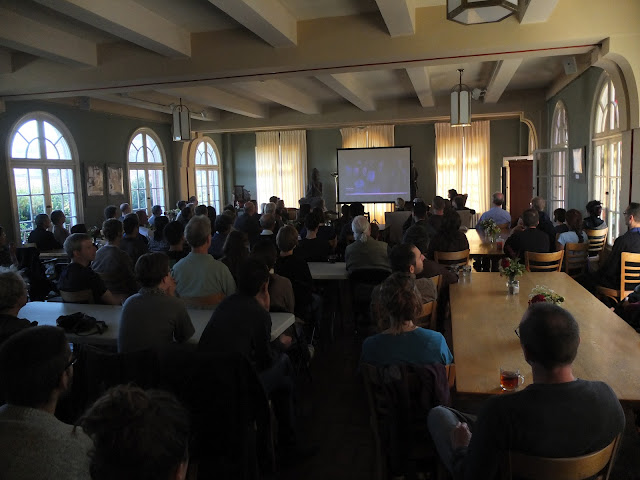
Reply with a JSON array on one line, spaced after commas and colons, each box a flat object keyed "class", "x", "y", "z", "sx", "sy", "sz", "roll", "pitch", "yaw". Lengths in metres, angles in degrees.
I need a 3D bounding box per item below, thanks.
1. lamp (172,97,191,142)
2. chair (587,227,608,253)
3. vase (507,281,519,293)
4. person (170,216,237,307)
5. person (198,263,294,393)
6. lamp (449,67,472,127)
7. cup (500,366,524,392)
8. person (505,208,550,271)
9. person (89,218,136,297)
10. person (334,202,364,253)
[{"class": "lamp", "x": -2.389, "y": -2.002, "z": 8.806, "sx": 0.289, "sy": 0.532, "sz": 0.474, "roll": 2, "pitch": 12, "yaw": -16}, {"class": "chair", "x": 3.442, "y": -0.014, "z": 6.309, "sx": 0.247, "sy": 0.351, "sz": 0.231, "roll": -3, "pitch": 17, "yaw": -1}, {"class": "vase", "x": 1.547, "y": 0.362, "z": 4.047, "sx": 0.077, "sy": 0.121, "sz": 0.113, "roll": 1, "pitch": 6, "yaw": 19}, {"class": "person", "x": -0.948, "y": 0.181, "z": 4.203, "sx": 0.471, "sy": 0.769, "sz": 0.411, "roll": -2, "pitch": 10, "yaw": -5}, {"class": "person", "x": -0.427, "y": 0.551, "z": 3.195, "sx": 0.649, "sy": 0.846, "sz": 0.285, "roll": -6, "pitch": 15, "yaw": -45}, {"class": "lamp", "x": 2.489, "y": -2.495, "z": 8.887, "sx": 0.355, "sy": 0.977, "sz": 1.711, "roll": 7, "pitch": 12, "yaw": 13}, {"class": "cup", "x": 1.009, "y": 0.719, "z": 2.629, "sx": 0.121, "sy": 0.094, "sz": 0.083, "roll": 0, "pitch": 1, "yaw": 0}, {"class": "person", "x": 2.293, "y": 0.099, "z": 5.641, "sx": 0.441, "sy": 0.924, "sz": 0.496, "roll": 9, "pitch": 17, "yaw": 28}, {"class": "person", "x": -2.054, "y": 0.154, "z": 5.031, "sx": 0.456, "sy": 0.798, "sz": 0.530, "roll": -1, "pitch": 20, "yaw": -19}, {"class": "person", "x": 0.327, "y": -0.147, "z": 6.956, "sx": 0.267, "sy": 0.843, "sz": 0.446, "roll": -11, "pitch": -23, "yaw": 24}]
